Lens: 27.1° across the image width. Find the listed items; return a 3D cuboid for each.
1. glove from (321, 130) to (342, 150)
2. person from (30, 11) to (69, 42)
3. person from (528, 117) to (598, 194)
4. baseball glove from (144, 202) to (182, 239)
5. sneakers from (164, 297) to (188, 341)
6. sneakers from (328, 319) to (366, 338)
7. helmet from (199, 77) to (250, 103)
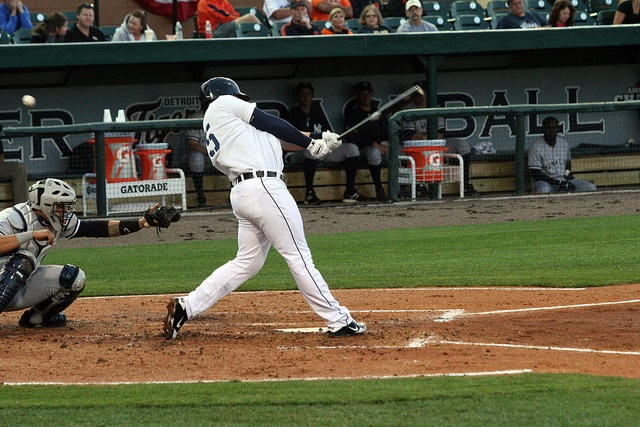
[{"bbox_3d":[0.126,-0.947,17.040,0.261,0.094,0.193,40,26,14],"label":"glove"},{"bbox_3d":[-4.471,-3.093,22.032,0.485,0.736,0.568,2,2,16],"label":"person"},{"bbox_3d":[4.254,-1.032,23.579,1.140,1.300,1.007,-15,16,-28],"label":"person"},{"bbox_3d":[-2.031,-0.006,17.260,0.492,0.339,0.182,20,7,8],"label":"baseball glove"},{"bbox_3d":[-1.880,1.292,16.982,0.266,0.579,0.203,6,28,-34],"label":"sneakers"},{"bbox_3d":[0.382,1.425,16.961,0.537,0.224,0.184,3,3,-7],"label":"sneakers"},{"bbox_3d":[-1.248,-1.606,17.068,0.533,0.246,0.308,-2,-5,-4],"label":"helmet"}]
